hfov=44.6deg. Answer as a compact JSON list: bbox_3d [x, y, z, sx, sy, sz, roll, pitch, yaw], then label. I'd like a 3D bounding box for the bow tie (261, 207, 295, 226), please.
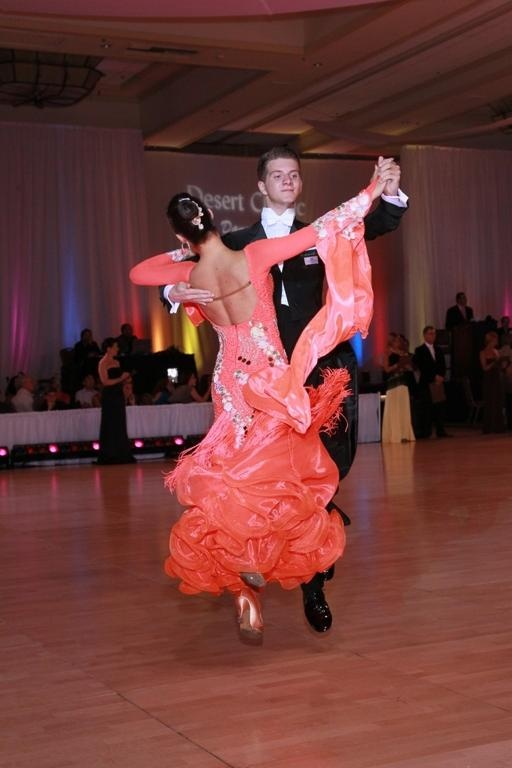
[{"bbox_3d":[0.070,-0.548,2.073,0.126,0.053,0.062,-1,8,-2],"label":"bow tie"}]

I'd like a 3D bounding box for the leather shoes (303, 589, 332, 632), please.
[{"bbox_3d":[0.187,0.692,1.911,0.066,0.065,0.171,-5,-3,-9],"label":"leather shoes"}]

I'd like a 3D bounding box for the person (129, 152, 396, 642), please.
[{"bbox_3d":[0.046,0.057,1.872,0.791,1.469,0.422,-2,-5,-1],"label":"person"}]
